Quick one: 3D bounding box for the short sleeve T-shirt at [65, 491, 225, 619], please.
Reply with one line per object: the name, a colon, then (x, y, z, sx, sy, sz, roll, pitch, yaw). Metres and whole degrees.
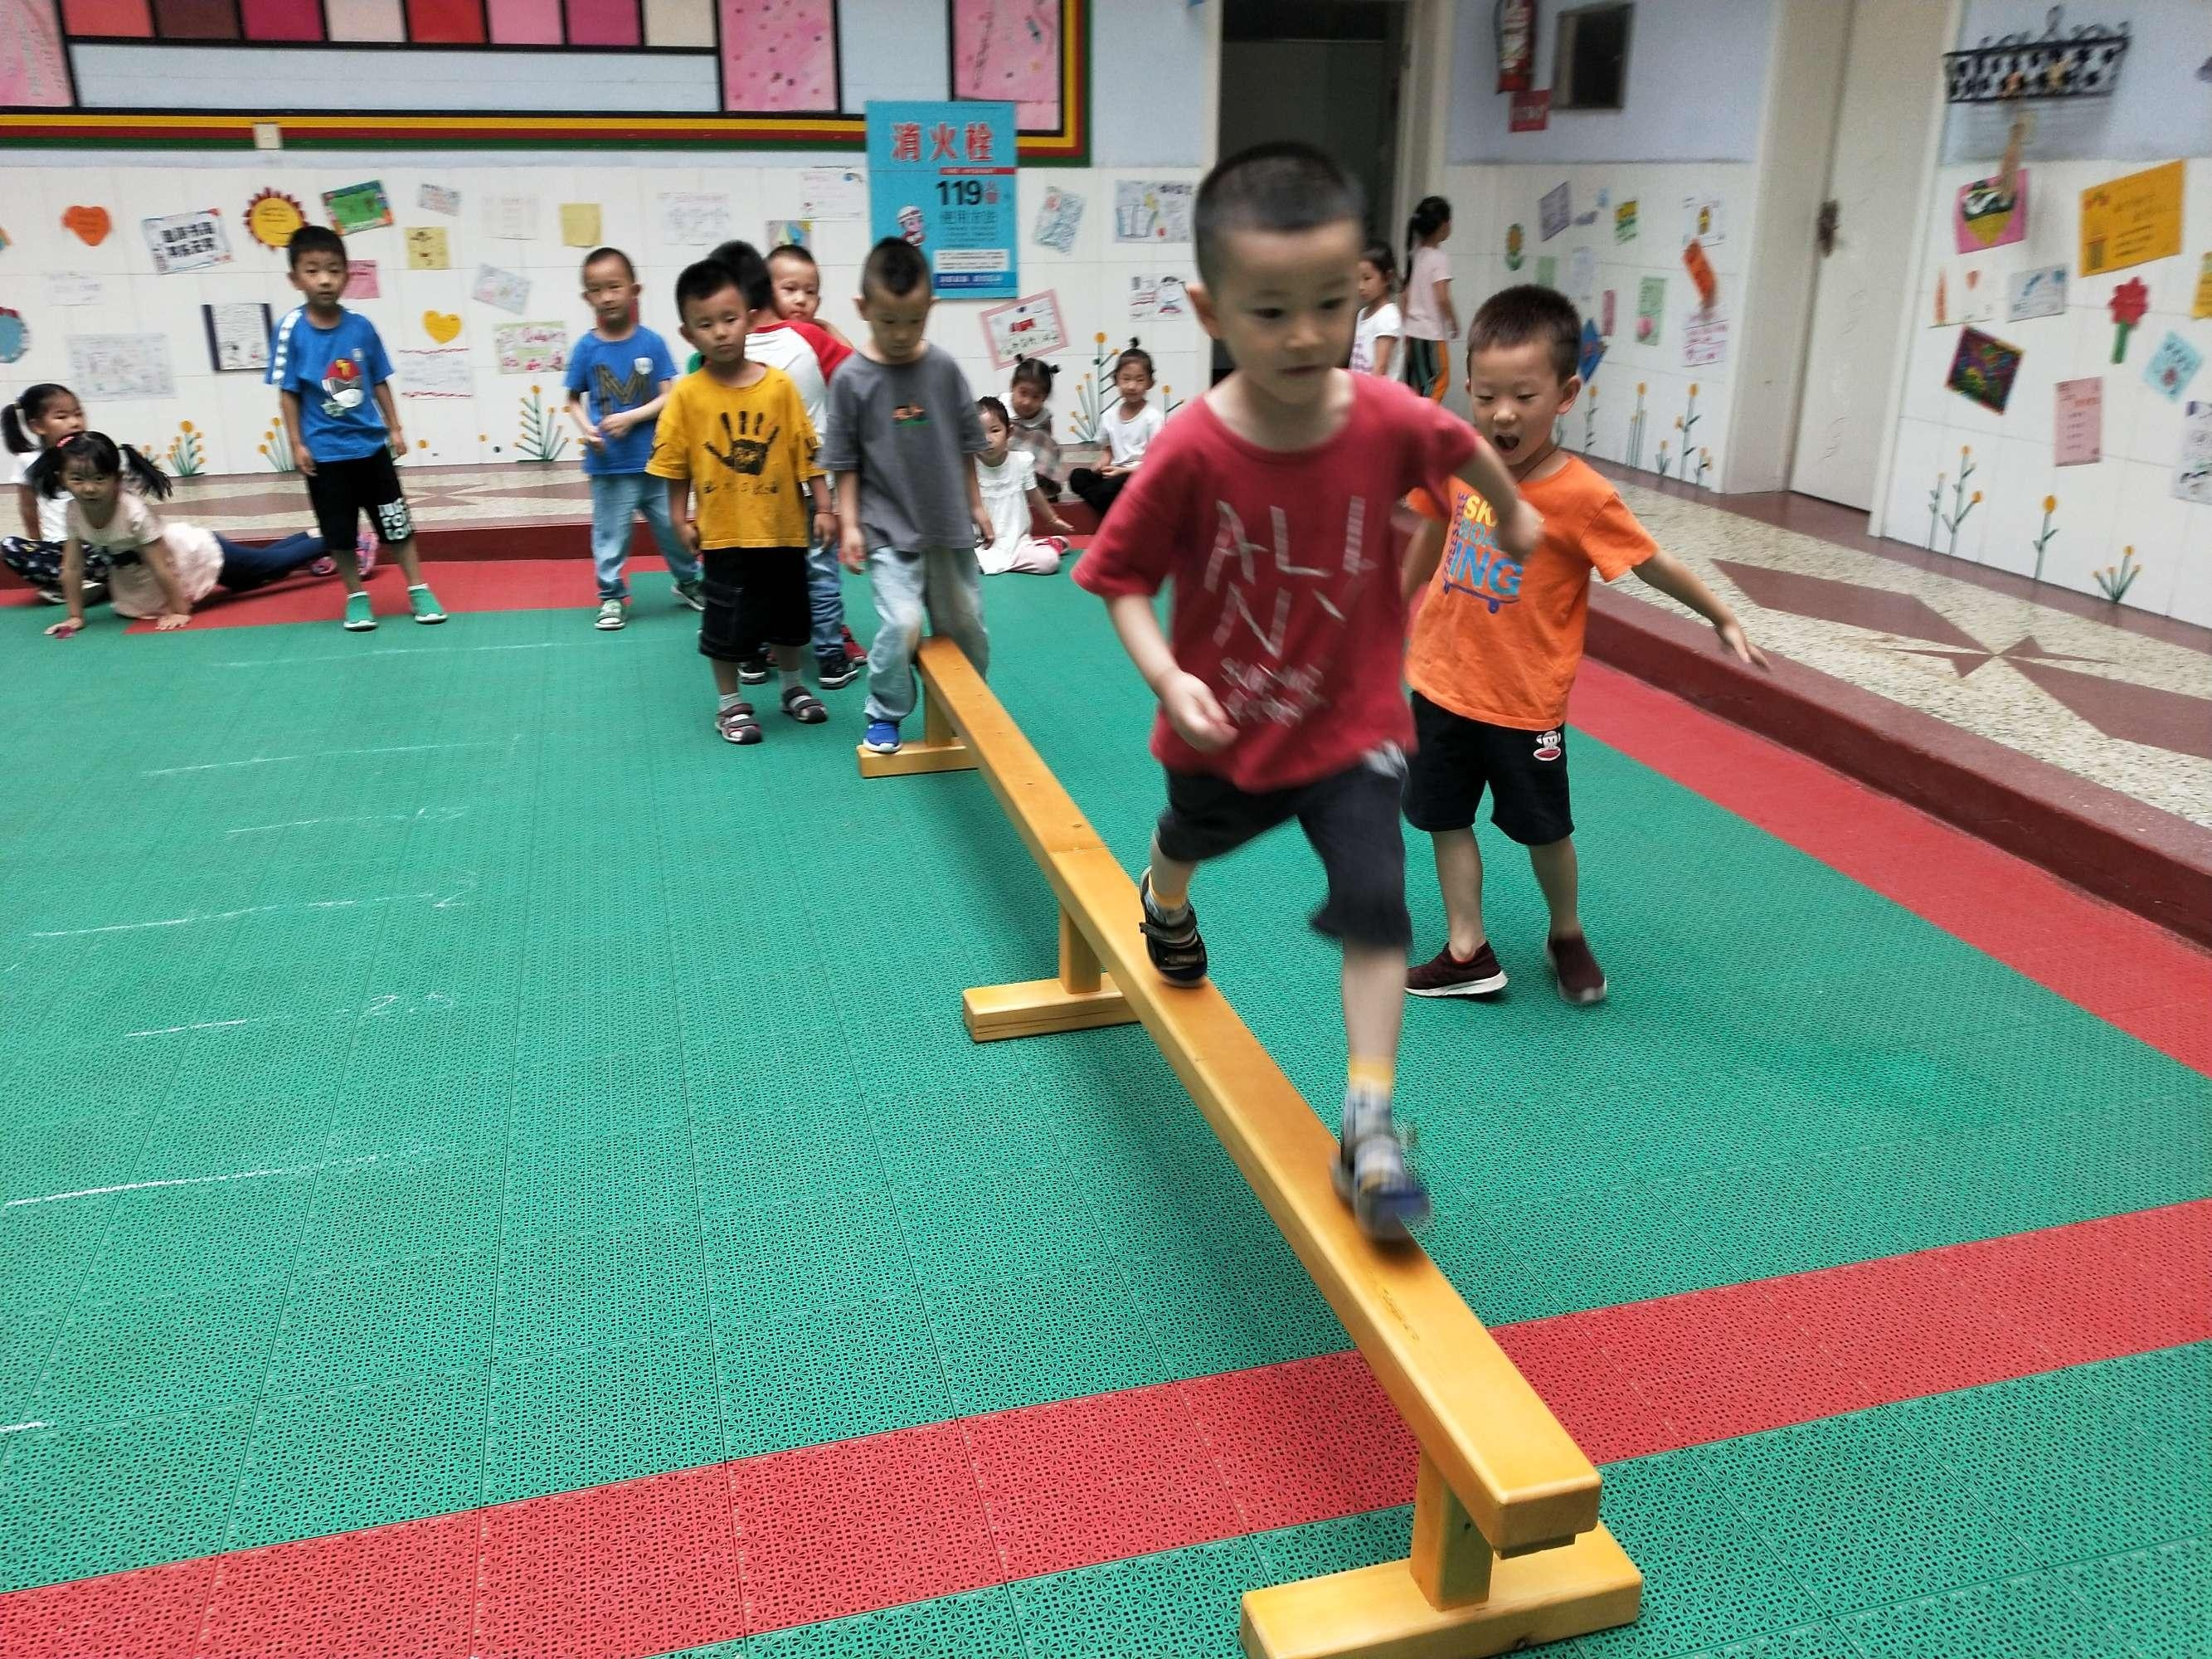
short sleeve T-shirt: (-4.001, -1.160, 5.945, 0.298, 0.356, 0.736, -28, 1, 7)

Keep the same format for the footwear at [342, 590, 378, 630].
footwear: (-3.056, -0.899, 5.672, 0.110, 0.119, 0.285, -6, 15, -26)

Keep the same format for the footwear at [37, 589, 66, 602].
footwear: (-4.643, -1.025, 6.090, 0.122, 0.039, 0.099, -6, -9, 34)

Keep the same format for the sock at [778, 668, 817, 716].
sock: (-1.021, -0.471, 4.783, 0.094, 0.142, 0.234, -9, 19, -25)

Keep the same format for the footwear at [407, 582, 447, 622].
footwear: (-2.855, -0.964, 5.830, 0.118, 0.121, 0.306, -9, 19, -23)

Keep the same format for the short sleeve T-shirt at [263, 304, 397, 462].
short sleeve T-shirt: (-3.076, -1.792, 5.525, 0.250, 0.580, 0.365, 10, 27, 29)

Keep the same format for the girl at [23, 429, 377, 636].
girl: (-3.951, -1.349, 6.065, 0.521, 0.765, 1.446, 15, 20, 13)

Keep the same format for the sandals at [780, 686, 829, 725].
sandals: (-1.015, -0.424, 4.709, 0.090, 0.086, 0.205, -8, 16, -26)

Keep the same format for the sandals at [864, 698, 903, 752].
sandals: (-0.689, -0.313, 4.312, 0.084, 0.094, 0.211, 1, 15, -14)

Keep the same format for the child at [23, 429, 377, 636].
child: (-3.946, -1.361, 6.075, 0.513, 0.768, 1.461, 15, 20, 12)

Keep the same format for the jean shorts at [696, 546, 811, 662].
jean shorts: (-1.144, -0.772, 4.665, 0.409, 0.369, 0.221, -2, 12, -28)

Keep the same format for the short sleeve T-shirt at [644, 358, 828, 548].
short sleeve T-shirt: (-1.194, -1.202, 4.490, 0.521, 0.559, 0.278, -10, 24, -15)

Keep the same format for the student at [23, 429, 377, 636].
student: (-3.966, -1.353, 6.063, 0.465, 0.751, 1.435, 14, 20, 13)

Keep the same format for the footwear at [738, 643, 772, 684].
footwear: (-1.298, -0.608, 5.158, 0.075, 0.090, 0.218, -1, 4, -5)

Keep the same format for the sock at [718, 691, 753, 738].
sock: (-1.216, -0.384, 4.587, 0.096, 0.081, 0.190, -10, 23, -23)

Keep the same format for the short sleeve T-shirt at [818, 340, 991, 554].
short sleeve T-shirt: (-0.595, -1.125, 4.121, 0.482, 0.582, 0.208, -6, 24, -6)

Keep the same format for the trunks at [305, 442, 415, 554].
trunks: (-3.097, -1.395, 5.707, 0.331, 0.449, 0.173, -19, 54, -27)

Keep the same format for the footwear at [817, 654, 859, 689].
footwear: (-0.957, -0.586, 5.070, 0.074, 0.092, 0.205, -8, 4, -36)

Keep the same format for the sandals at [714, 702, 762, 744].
sandals: (-1.200, -0.357, 4.541, 0.100, 0.089, 0.197, -7, 18, -20)

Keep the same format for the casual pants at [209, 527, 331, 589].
casual pants: (-3.765, -1.221, 6.239, 0.230, 0.145, 0.380, -24, 8, 46)
